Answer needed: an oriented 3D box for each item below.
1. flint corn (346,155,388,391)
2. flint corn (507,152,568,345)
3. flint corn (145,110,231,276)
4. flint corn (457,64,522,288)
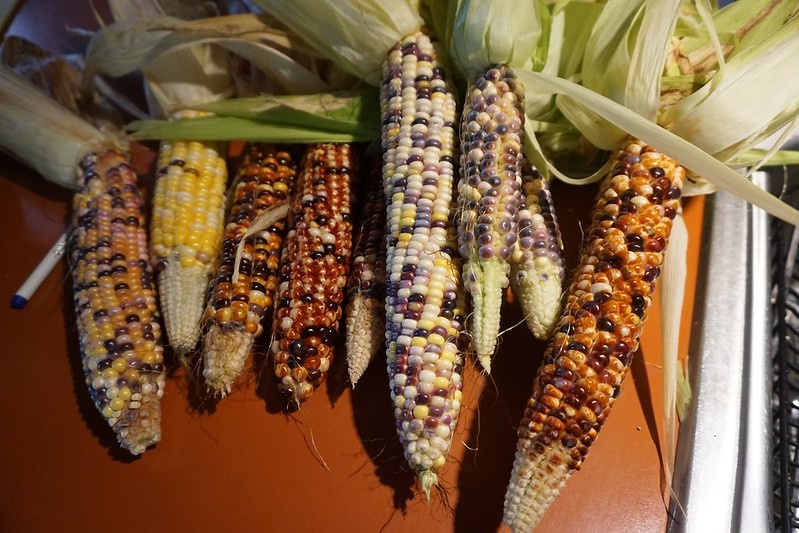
[{"bbox_3d":[-0.088,-0.011,2.277,0.118,0.604,0.105,4,-16,-4],"label":"flint corn"},{"bbox_3d":[0.373,-0.044,2.108,0.133,0.465,0.135,8,-19,-29],"label":"flint corn"},{"bbox_3d":[-0.627,-0.199,2.385,0.146,0.569,0.167,6,-14,4],"label":"flint corn"},{"bbox_3d":[0.240,-0.254,2.123,0.145,0.643,0.162,4,2,8],"label":"flint corn"}]
